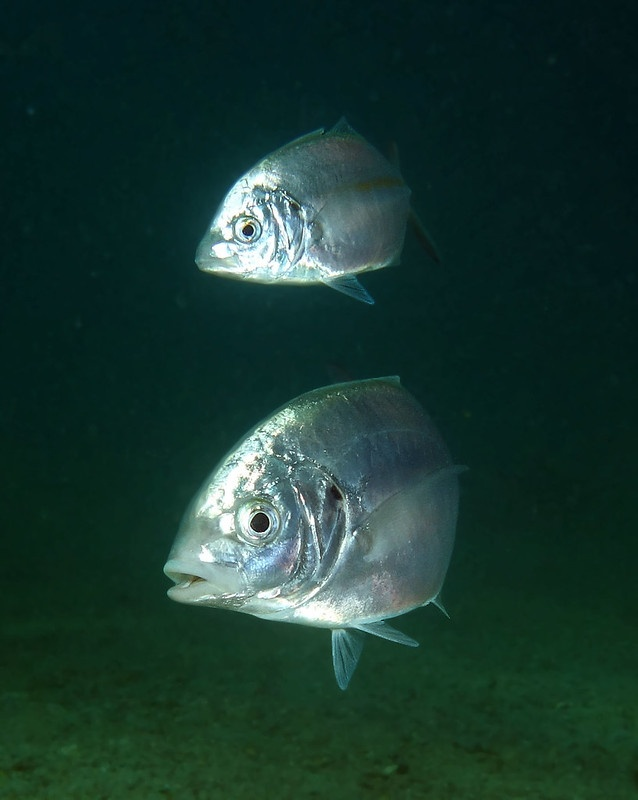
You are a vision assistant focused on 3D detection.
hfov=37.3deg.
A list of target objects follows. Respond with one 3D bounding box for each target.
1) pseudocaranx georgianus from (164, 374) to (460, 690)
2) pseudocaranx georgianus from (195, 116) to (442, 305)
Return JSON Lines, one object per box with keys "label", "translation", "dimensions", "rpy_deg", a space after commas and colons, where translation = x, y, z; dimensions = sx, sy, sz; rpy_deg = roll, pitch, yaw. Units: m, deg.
{"label": "pseudocaranx georgianus", "translation": [0.026, 0.274, 2.201], "dimensions": [0.713, 0.614, 0.331], "rpy_deg": [-5, 21, -40]}
{"label": "pseudocaranx georgianus", "translation": [0.049, -0.510, 2.531], "dimensions": [0.904, 0.466, 0.241], "rpy_deg": [-15, 24, -38]}
